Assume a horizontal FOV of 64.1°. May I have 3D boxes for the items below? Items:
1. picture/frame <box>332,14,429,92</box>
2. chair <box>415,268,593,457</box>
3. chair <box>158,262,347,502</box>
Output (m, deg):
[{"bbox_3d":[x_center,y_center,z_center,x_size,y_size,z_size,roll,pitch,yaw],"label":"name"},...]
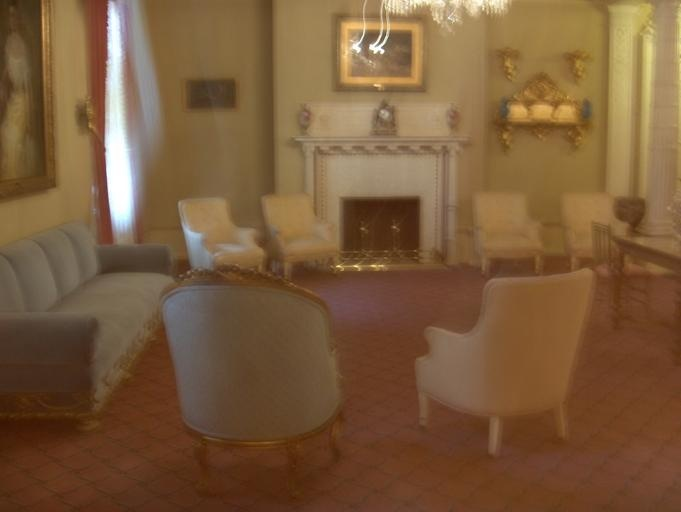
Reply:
[{"bbox_3d":[0.524,-2.973,7.786,0.960,0.893,0.074,-1,6,-2],"label":"picture/frame"},{"bbox_3d":[1.081,0.638,3.584,0.824,1.190,0.964,-5,6,-32],"label":"chair"},{"bbox_3d":[-0.433,0.521,3.046,0.843,1.278,1.091,2,12,12],"label":"chair"}]
